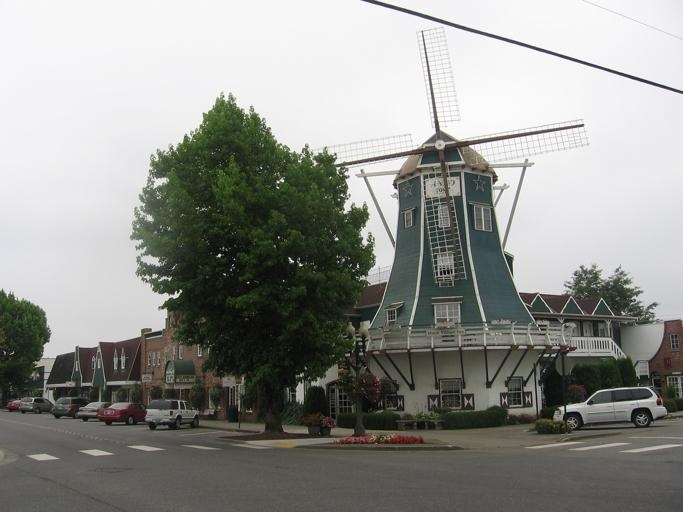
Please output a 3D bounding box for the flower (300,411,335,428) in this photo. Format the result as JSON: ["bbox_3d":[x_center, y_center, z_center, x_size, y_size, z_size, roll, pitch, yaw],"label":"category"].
[{"bbox_3d":[-0.946,8.519,35.093,1.114,0.729,1.115,-9,-16,44],"label":"flower"}]

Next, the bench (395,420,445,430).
[{"bbox_3d":[4.384,9.517,38.365,2.619,0.544,0.507,3,-17,-18],"label":"bench"}]

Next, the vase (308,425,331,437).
[{"bbox_3d":[-1.144,8.875,34.594,1.047,0.495,0.878,-1,-17,-5],"label":"vase"}]
